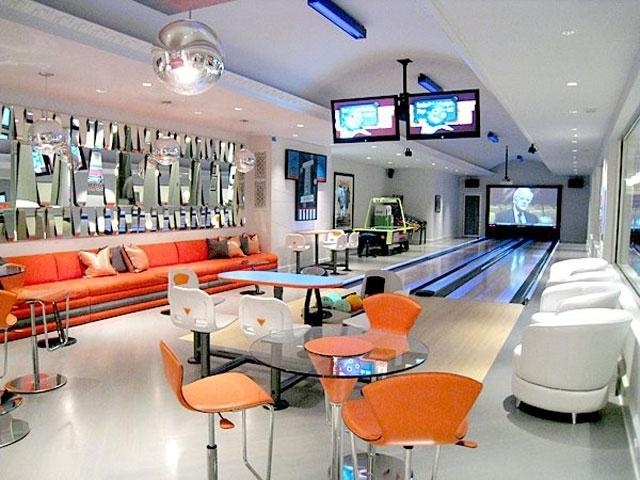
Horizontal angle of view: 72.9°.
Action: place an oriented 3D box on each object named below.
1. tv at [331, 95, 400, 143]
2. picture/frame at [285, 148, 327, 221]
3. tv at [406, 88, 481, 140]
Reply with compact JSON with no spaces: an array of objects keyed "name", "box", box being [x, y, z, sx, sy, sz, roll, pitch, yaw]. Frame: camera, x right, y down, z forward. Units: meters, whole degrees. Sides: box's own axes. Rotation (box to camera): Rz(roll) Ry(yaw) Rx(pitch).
[{"name":"tv","box":[0.733,-1.928,6.914,0.980,0.633,0.130,1,9,25]},{"name":"picture/frame","box":[-0.430,-1.518,11.533,0.140,2.118,2.113,0,0,29]},{"name":"tv","box":[1.861,-1.892,6.546,1.111,0.771,0.113,3,11,25]}]
